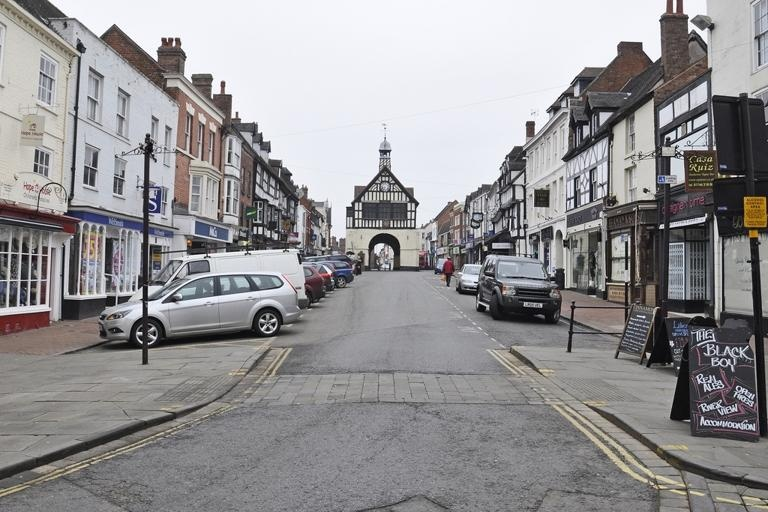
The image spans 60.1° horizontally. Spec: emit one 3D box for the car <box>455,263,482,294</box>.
[{"bbox_3d":[4.283,1.203,33.987,1.179,0.979,2.833,0,-5,-2],"label":"car"}]

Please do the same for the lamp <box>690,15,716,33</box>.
[{"bbox_3d":[10.543,-7.793,22.080,0.775,0.541,0.403,-3,9,-15],"label":"lamp"}]

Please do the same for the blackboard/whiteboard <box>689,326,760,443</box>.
[{"bbox_3d":[5.450,2.057,10.682,1.074,1.707,0.785,3,9,21],"label":"blackboard/whiteboard"}]

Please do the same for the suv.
[{"bbox_3d":[4.491,1.118,23.267,1.672,1.545,3.104,2,-6,-5],"label":"suv"}]

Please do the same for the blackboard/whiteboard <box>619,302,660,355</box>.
[{"bbox_3d":[5.940,1.777,15.393,0.678,1.236,0.730,4,4,-36],"label":"blackboard/whiteboard"}]

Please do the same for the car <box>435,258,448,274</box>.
[{"bbox_3d":[6.028,1.004,69.637,1.620,1.408,2.864,0,-3,0],"label":"car"}]
